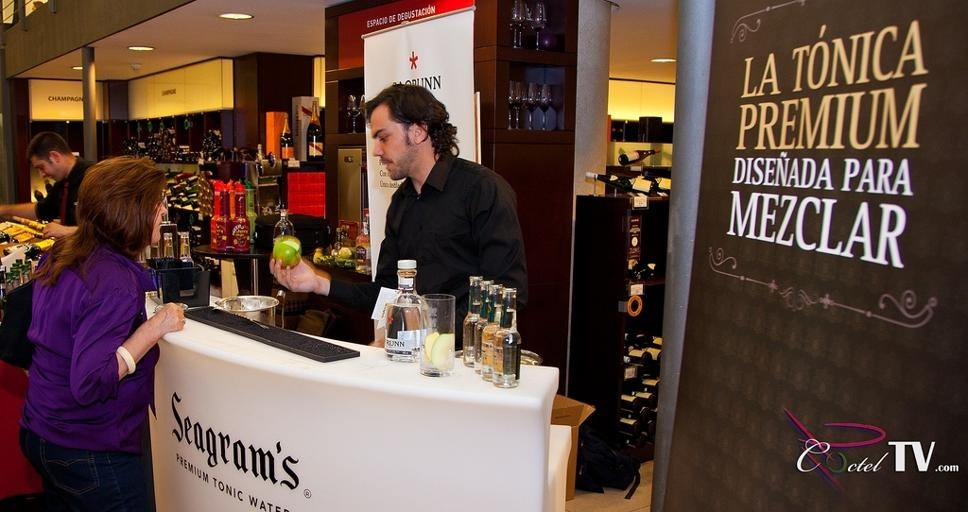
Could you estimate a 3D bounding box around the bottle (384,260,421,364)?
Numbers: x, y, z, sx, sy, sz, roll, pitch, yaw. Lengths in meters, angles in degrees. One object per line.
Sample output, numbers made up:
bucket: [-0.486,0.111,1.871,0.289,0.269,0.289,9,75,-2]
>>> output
bottle: [-0.357,0.236,2.690,0.162,0.455,0.229,0,6,-10]

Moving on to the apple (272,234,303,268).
apple: [-1.089,-0.028,3.340,0.176,0.191,0.177,-2,-15,-27]

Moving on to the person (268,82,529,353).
person: [-0.470,-0.014,3.683,1.449,1.884,0.977,7,13,26]

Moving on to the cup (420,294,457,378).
cup: [-0.205,0.334,2.578,0.145,0.341,0.093,2,6,13]

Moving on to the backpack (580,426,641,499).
backpack: [0.983,1.577,4.801,0.488,0.480,0.371,2,6,14]

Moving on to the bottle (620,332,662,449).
bottle: [1.310,1.120,5.113,0.355,0.994,0.119,-2,6,-27]

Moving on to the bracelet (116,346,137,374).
bracelet: [-1.641,0.476,2.821,0.033,0.111,0.096,-41,4,-37]

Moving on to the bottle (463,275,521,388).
bottle: [0.027,0.331,2.569,0.160,0.441,0.432,-3,6,-28]
